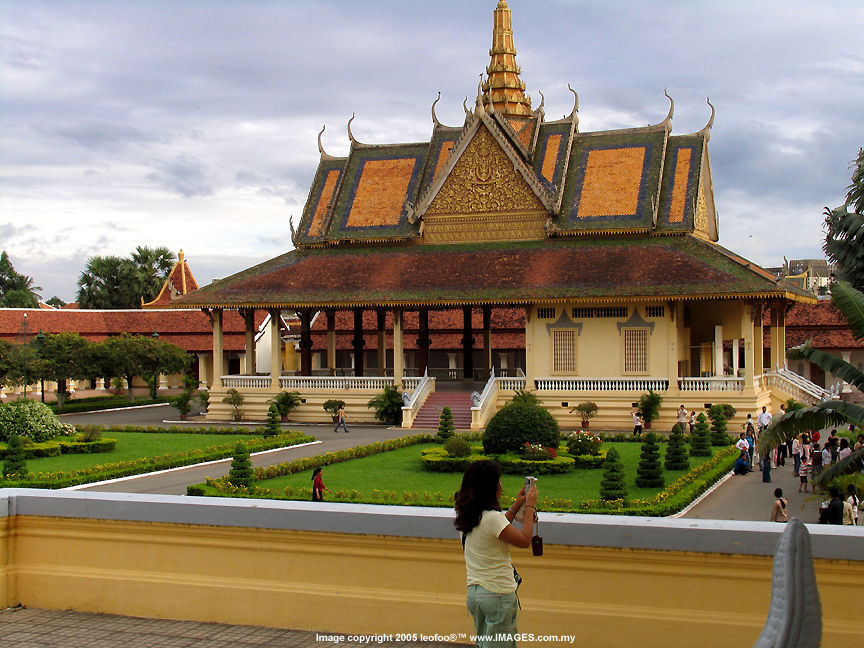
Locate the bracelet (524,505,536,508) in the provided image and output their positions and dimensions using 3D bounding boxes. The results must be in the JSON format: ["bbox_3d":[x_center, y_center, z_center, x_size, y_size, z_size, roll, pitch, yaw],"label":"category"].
[{"bbox_3d":[0.875,1.626,11.317,0.082,0.033,0.028,-1,-1,13],"label":"bracelet"}]
